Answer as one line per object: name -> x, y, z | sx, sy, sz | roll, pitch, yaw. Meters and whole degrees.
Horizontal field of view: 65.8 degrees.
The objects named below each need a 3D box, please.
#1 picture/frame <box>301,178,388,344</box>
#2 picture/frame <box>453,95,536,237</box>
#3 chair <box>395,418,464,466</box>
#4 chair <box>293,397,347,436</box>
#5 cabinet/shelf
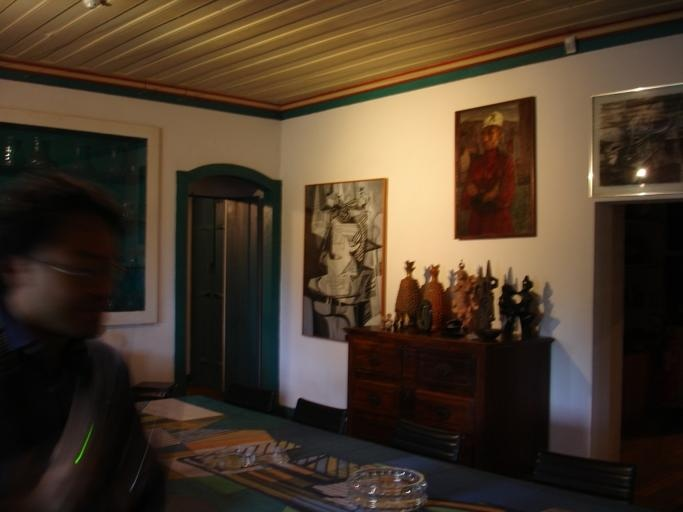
picture/frame -> -0.007, 0.041, 5.793 | 1.172, 1.752, 0.140 | -2, -6, 43
picture/frame -> 1.343, -0.750, 4.643 | 0.725, 1.162, 0.099 | -2, -6, 42
chair -> 0.492, 1.039, 3.027 | 0.239, 0.416, 0.245 | -7, -22, 32
chair -> -0.119, 0.976, 3.434 | 0.233, 0.201, 0.342 | 0, 16, 28
cabinet/shelf -> 0.867, 1.341, 4.524 | 0.941, 1.438, 1.615 | 6, -6, -34
